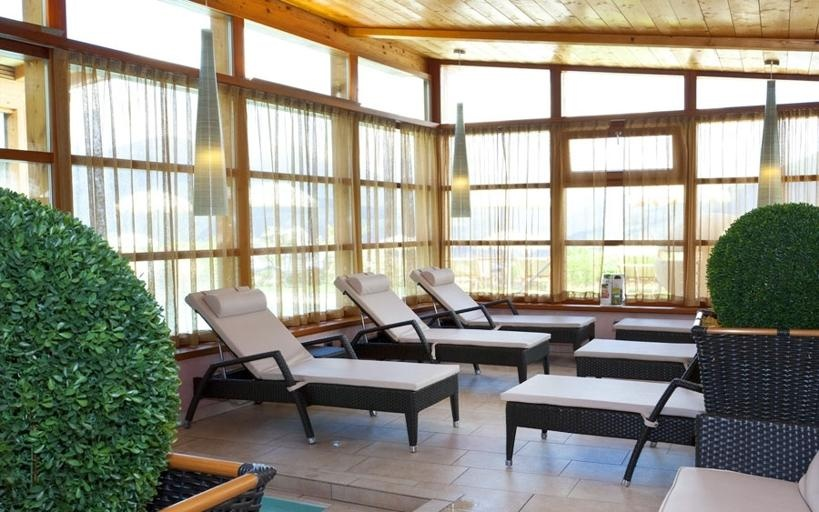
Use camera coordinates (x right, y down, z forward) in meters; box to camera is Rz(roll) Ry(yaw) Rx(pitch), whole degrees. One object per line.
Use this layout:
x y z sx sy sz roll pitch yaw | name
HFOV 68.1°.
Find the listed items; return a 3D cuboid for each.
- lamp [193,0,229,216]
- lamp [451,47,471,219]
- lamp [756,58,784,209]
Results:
-1.731 -1.124 5.141 0.239 1.543 0.276 -5 6 -34 | lamp
0.634 -1.234 7.849 0.232 1.443 0.497 -2 5 2 | lamp
3.944 -1.248 6.643 0.211 1.377 0.520 1 6 30 | lamp
